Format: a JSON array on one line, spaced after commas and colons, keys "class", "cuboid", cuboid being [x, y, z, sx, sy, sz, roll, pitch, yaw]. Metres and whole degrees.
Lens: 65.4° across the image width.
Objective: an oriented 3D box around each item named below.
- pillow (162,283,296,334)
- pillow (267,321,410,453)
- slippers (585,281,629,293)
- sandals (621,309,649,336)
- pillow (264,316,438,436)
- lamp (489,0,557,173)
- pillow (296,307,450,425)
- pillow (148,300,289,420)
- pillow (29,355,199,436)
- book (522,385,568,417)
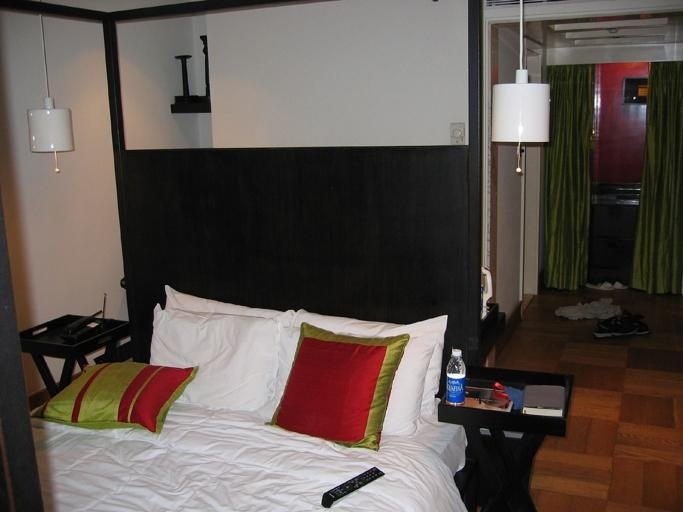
[{"class": "pillow", "cuboid": [-0.672, 0.360, 3.254, 0.778, 0.231, 0.093, 11, -20, -24]}, {"class": "pillow", "cuboid": [-0.015, 0.603, 2.541, 0.587, 0.404, 0.391, 3, 14, 23]}, {"class": "slippers", "cuboid": [3.230, 0.369, 6.470, 0.336, 0.101, 0.173, -4, 13, -1]}, {"class": "sandals", "cuboid": [2.831, 0.627, 5.196, 0.163, 0.161, 0.363, -6, 7, -3]}, {"class": "pillow", "cuboid": [0.229, 0.520, 2.540, 0.594, 0.607, 0.183, 3, -17, 23]}, {"class": "lamp", "cuboid": [0.806, -0.788, 2.379, 0.218, 0.862, 1.081, 2, 13, 19]}, {"class": "pillow", "cuboid": [0.299, 0.486, 2.616, 0.526, 0.584, 0.164, -1, -8, 29]}, {"class": "pillow", "cuboid": [-0.600, 0.592, 3.131, 0.258, 0.634, 1.002, 6, -12, 7]}, {"class": "pillow", "cuboid": [-1.137, 0.706, 2.751, 0.691, 0.223, 0.356, 1, 13, 14]}, {"class": "book", "cuboid": [0.910, 0.648, 2.390, 0.180, 0.040, 0.264, 4, 14, 25]}]
